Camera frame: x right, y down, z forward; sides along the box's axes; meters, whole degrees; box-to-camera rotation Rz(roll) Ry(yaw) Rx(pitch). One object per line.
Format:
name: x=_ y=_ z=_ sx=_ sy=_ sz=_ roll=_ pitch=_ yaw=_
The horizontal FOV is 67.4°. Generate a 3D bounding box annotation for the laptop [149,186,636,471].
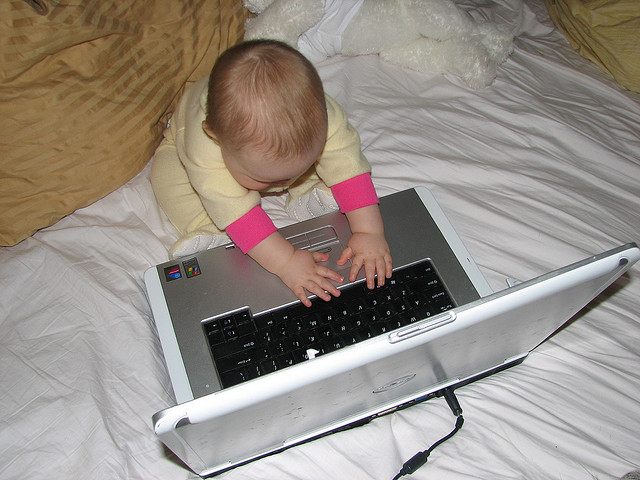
laptop: x=0.062 y=0.107 z=0.961 sx=0.763 sy=0.445 sz=0.427 roll=-19 pitch=57 yaw=-6
